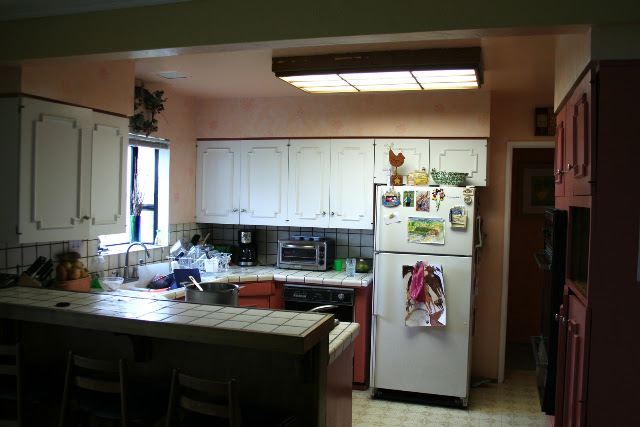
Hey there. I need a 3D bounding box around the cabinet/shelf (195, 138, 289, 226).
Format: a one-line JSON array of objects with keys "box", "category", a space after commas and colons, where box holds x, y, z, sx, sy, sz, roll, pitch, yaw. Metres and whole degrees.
[{"box": [-0.871, -0.396, 5.667, 1.087, 0.912, 0.443, 1, 0, 13], "category": "cabinet/shelf"}]

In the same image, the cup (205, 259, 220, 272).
[{"box": [-1.193, 0.565, 5.315, 0.138, 0.127, 0.160, 2, -2, -26], "category": "cup"}]

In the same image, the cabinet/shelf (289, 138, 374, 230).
[{"box": [0.171, -0.367, 5.368, 1.076, 1.127, 0.461, 1, 1, 16], "category": "cabinet/shelf"}]

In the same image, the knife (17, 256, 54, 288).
[{"box": [-2.224, 0.475, 3.824, 0.065, 0.193, 0.269, -3, 23, 11], "category": "knife"}]

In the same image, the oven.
[{"box": [0.040, 1.019, 5.330, 0.813, 0.530, 0.508, 2, 2, 20], "category": "oven"}]

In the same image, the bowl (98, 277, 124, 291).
[{"box": [-1.970, 0.645, 4.490, 0.191, 0.101, 0.361, 0, 3, -25], "category": "bowl"}]

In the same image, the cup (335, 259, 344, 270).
[{"box": [0.220, 0.597, 5.548, 0.117, 0.135, 0.114, 1, -6, 0], "category": "cup"}]

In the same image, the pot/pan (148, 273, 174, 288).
[{"box": [-1.666, 0.698, 4.997, 0.192, 0.069, 0.151, -8, 4, 45], "category": "pot/pan"}]

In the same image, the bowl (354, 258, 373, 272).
[{"box": [0.511, 0.583, 5.449, 0.155, 0.146, 0.091, 4, -11, -3], "category": "bowl"}]

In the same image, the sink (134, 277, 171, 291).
[{"box": [-1.692, 0.721, 4.932, 0.310, 0.113, 0.347, 0, 3, -17], "category": "sink"}]

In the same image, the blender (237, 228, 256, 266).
[{"box": [-0.866, 0.410, 5.767, 0.226, 0.430, 0.152, 0, 2, -20], "category": "blender"}]

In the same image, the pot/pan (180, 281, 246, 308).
[{"box": [-0.760, 0.570, 3.440, 0.260, 0.184, 0.236, 3, 6, 18], "category": "pot/pan"}]

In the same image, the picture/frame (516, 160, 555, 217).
[{"box": [2.844, -0.322, 6.259, 0.429, 0.651, 0.148, 2, 2, 19], "category": "picture/frame"}]

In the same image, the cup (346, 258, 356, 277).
[{"box": [0.347, 0.586, 5.243, 0.103, 0.181, 0.145, 1, 2, 3], "category": "cup"}]
